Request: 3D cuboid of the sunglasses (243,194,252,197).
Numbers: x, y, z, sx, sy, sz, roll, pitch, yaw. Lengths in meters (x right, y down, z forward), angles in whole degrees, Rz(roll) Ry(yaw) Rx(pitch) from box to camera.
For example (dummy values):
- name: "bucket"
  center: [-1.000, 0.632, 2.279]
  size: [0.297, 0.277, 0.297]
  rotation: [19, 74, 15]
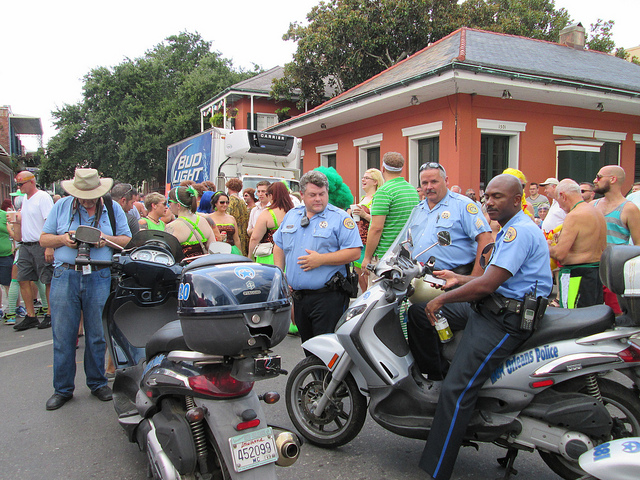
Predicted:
- name: "sunglasses"
  center: [-1.446, -0.877, 10.564]
  size: [0.152, 0.057, 0.070]
  rotation: [3, 11, 20]

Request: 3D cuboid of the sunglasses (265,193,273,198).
- name: "sunglasses"
  center: [-0.896, -0.755, 9.036]
  size: [0.043, 0.079, 0.082]
  rotation: [-7, 12, -30]

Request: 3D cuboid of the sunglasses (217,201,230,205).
- name: "sunglasses"
  center: [-1.448, -0.563, 8.061]
  size: [0.050, 0.051, 0.139]
  rotation: [9, 14, 43]

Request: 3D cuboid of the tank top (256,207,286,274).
- name: "tank top"
  center: [-0.794, -0.029, 7.510]
  size: [0.374, 1.040, 0.464]
  rotation: [13, 6, 0]

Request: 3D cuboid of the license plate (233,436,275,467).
- name: "license plate"
  center: [-0.455, 1.431, 3.616]
  size: [0.037, 0.234, 0.410]
  rotation: [-23, -21, 31]

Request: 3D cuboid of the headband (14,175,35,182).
- name: "headband"
  center: [-4.640, -0.969, 8.415]
  size: [0.260, 0.099, 0.250]
  rotation: [-7, 12, -34]

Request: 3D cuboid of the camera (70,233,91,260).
- name: "camera"
  center: [-2.170, 0.074, 4.885]
  size: [0.107, 0.177, 0.304]
  rotation: [-6, 11, -25]

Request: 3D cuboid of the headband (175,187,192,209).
- name: "headband"
  center: [-1.692, -0.527, 6.594]
  size: [0.167, 0.256, 0.238]
  rotation: [-4, 11, -19]

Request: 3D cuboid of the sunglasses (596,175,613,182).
- name: "sunglasses"
  center: [3.530, -0.785, 6.720]
  size: [0.099, 0.072, 0.249]
  rotation: [-3, 10, -13]

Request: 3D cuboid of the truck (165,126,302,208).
- name: "truck"
  center: [-2.618, -1.857, 15.615]
  size: [2.277, 2.687, 4.750]
  rotation: [0, 3, -33]

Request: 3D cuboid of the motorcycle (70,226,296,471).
- name: "motorcycle"
  center: [-0.988, 0.827, 4.781]
  size: [1.370, 1.915, 2.695]
  rotation: [3, 0, -32]

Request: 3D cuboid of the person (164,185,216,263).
- name: "person"
  center: [-1.680, -0.159, 6.693]
  size: [0.766, 0.987, 0.459]
  rotation: [-8, 17, -34]

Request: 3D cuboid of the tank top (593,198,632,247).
- name: "tank top"
  center: [3.588, -0.203, 6.474]
  size: [0.289, 0.505, 0.408]
  rotation: [5, 12, 28]

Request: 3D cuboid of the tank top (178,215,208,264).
- name: "tank top"
  center: [-1.534, -0.041, 6.518]
  size: [0.323, 0.469, 0.503]
  rotation: [-4, 10, -14]
